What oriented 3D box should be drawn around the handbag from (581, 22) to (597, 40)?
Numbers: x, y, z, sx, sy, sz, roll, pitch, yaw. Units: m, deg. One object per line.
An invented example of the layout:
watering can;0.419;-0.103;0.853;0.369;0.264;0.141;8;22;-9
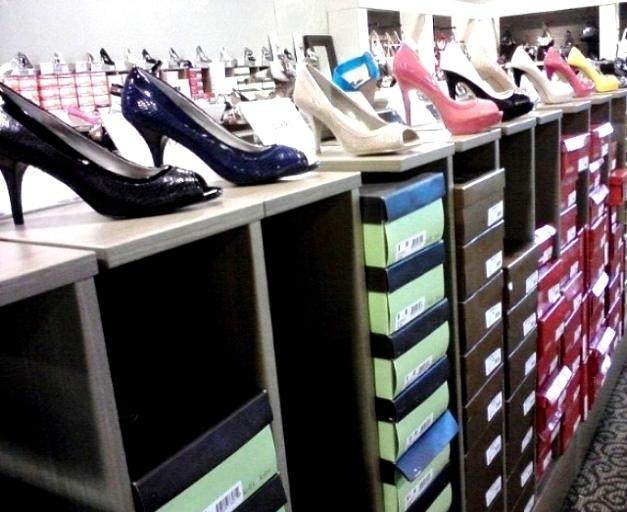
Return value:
handbag;1.844;-1.488;3.394;0.048;0.065;0.153;-4;19;17
